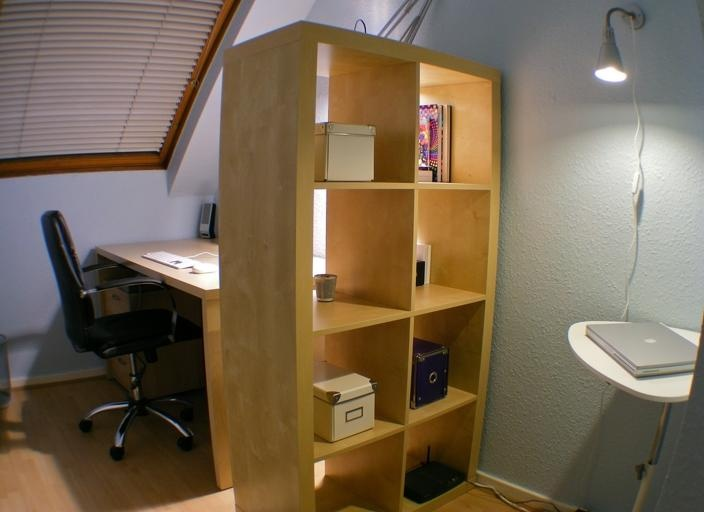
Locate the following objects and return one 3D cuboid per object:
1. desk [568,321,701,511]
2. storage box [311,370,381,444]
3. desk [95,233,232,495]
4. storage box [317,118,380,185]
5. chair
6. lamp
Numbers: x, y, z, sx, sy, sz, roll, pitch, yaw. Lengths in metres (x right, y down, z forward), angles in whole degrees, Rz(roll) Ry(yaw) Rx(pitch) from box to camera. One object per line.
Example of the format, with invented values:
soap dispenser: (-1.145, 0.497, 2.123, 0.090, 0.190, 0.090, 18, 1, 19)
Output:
desk: (1.061, 0.636, 2.119, 0.468, 0.676, 0.553, 2, 11, 25)
storage box: (-0.033, 0.617, 2.361, 0.232, 0.184, 0.237, -3, 5, -36)
desk: (-1.047, 0.643, 3.116, 0.619, 0.633, 1.140, -1, 15, -36)
storage box: (-0.021, -0.417, 2.253, 0.237, 0.249, 0.238, -4, 10, -39)
chair: (-1.427, 0.326, 3.791, 1.194, 1.975, 1.147, -1, 6, -30)
lamp: (1.054, -0.849, 2.206, 0.192, 0.311, 0.330, 2, 11, 26)
